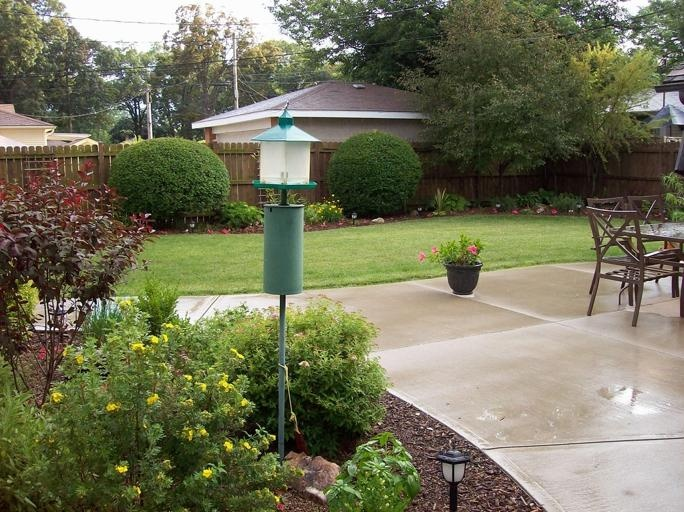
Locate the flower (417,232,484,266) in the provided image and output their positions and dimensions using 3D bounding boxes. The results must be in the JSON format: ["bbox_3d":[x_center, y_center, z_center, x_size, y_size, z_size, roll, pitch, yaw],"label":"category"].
[{"bbox_3d":[1.396,-0.044,8.668,0.713,0.430,0.714,-8,5,20],"label":"flower"}]

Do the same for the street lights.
[{"bbox_3d":[-0.376,0.177,4.681,0.428,2.431,0.652,-1,7,-4],"label":"street lights"}]

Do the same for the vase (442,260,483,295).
[{"bbox_3d":[1.490,0.251,8.381,0.404,0.310,0.415,1,4,10],"label":"vase"}]
